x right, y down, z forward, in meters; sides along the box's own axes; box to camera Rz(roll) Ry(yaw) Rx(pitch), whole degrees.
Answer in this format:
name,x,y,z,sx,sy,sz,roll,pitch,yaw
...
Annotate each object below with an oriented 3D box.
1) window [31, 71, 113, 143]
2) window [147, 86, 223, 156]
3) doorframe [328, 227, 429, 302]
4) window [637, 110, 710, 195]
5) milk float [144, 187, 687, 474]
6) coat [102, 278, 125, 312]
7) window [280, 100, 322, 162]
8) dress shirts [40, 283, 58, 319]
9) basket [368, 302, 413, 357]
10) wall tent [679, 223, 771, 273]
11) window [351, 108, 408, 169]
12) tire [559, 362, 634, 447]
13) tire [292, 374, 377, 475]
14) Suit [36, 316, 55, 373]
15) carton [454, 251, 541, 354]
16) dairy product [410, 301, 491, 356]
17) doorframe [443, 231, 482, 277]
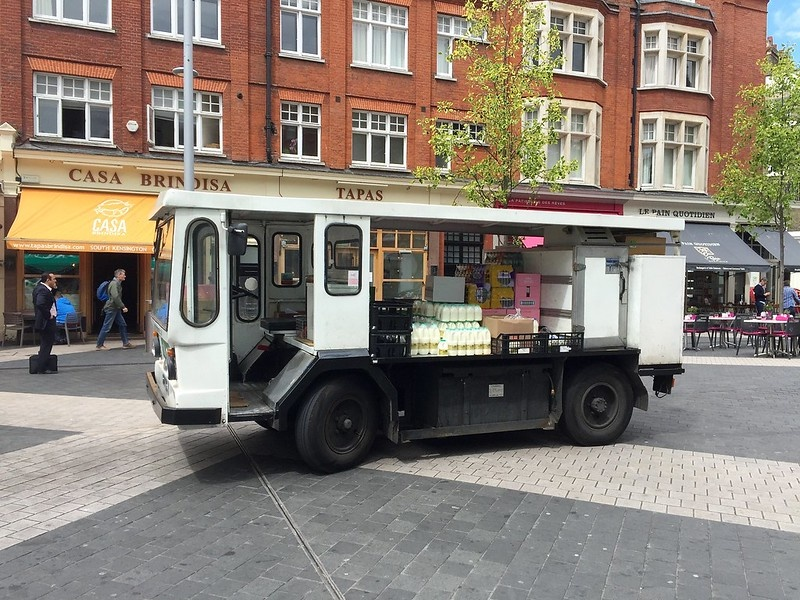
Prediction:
name,x,y,z,sx,sy,sz,roll,pitch,yaw
window,-8.885,-5.265,20.738,1.865,1.709,0.246,1,2,-25
window,-6.008,-5.105,21.846,1.914,1.815,0.519,-1,9,-12
doorframe,-0.211,-0.742,13.091,1.059,0.673,1.021,4,1,29
window,9.661,-5.398,27.727,2.911,2.999,0.888,0,3,-24
milk float,0.144,0.122,11.871,7.743,3.693,3.551,-2,10,-17
coat,-7.327,-0.155,19.732,0.424,0.800,0.727,-7,14,-26
window,-2.999,-5.078,23.016,1.679,2.289,0.291,1,-4,-22
dress shirts,-7.548,0.024,16.465,0.390,0.813,0.744,-1,7,-31
basket,-0.358,0.418,10.397,0.848,0.683,0.502,-1,-2,-15
wall tent,11.069,-1.865,27.429,2.988,1.318,2.271,3,15,-5
window,-0.696,-5.037,23.899,1.937,1.833,0.230,0,1,-23
tire,2.966,1.574,11.336,0.387,1.240,1.125,23,-12,-42
tire,-0.866,1.578,10.036,1.207,1.418,0.418,0,-1,-36
Suit,-7.378,0.931,16.112,0.365,1.081,0.428,-3,10,-20
carton,1.408,0.079,11.146,1.281,1.409,0.695,-1,-2,33
dairy product,0.667,0.394,10.874,0.756,0.535,0.806,0,0,-4
doorframe,1.419,-1.125,18.211,1.014,1.309,0.087,3,-26,-3
